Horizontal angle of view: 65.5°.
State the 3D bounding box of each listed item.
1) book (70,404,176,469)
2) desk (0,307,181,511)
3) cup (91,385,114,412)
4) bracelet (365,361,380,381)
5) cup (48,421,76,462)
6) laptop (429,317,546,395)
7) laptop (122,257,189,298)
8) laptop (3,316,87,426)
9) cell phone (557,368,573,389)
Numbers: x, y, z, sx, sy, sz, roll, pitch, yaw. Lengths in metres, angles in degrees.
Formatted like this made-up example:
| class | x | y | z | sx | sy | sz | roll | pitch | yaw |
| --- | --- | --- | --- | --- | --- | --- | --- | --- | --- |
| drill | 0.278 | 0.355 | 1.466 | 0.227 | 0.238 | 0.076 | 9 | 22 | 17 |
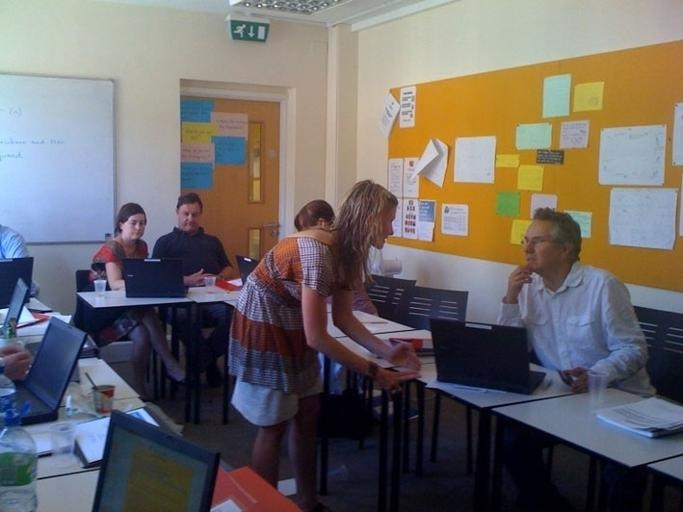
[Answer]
| class | x | y | z | sx | sy | sz | roll | pitch | yaw |
| --- | --- | --- | --- | --- | --- | --- | --- | --- | --- |
| book | -0.640 | 0.520 | 1.514 | 0.261 | 0.061 | 0.236 | -6 | 10 | -37 |
| desk | -0.904 | 0.491 | 1.877 | 0.508 | 0.357 | 0.574 | 12 | 0 | -43 |
| cup | -0.898 | 0.541 | 2.003 | 0.078 | 0.092 | 0.092 | 1 | -5 | -14 |
| bracelet | 0.121 | 0.486 | 2.237 | 0.053 | 0.067 | 0.057 | 5 | -35 | -19 |
| cup | -0.894 | 0.585 | 1.700 | 0.071 | 0.090 | 0.083 | -5 | 10 | -30 |
| laptop | 0.592 | 0.427 | 2.261 | 0.403 | 0.301 | 0.335 | 2 | 9 | 29 |
| laptop | -1.346 | 0.162 | 3.818 | 0.394 | 0.282 | 0.288 | 0 | 6 | -5 |
| laptop | -1.049 | 0.422 | 2.015 | 0.360 | 0.242 | 0.387 | -8 | 13 | -32 |
| cell phone | 1.007 | 0.558 | 2.386 | 0.021 | 0.063 | 0.047 | -5 | 31 | 51 |
